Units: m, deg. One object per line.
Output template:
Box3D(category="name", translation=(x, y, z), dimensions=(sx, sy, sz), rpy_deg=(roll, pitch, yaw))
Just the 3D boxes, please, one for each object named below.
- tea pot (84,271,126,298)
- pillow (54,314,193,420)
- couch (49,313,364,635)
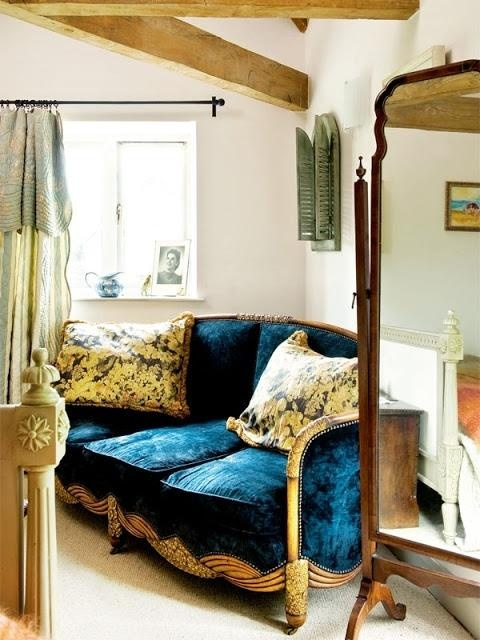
Box3D(category="tea pot", translation=(-0.802, -0.205, 3.291), dimensions=(0.222, 0.161, 0.293), rpy_deg=(0, 2, -16))
Box3D(category="pillow", translation=(-0.518, 0.204, 2.461), dimensions=(0.433, 0.486, 0.140), rpy_deg=(2, -22, 2))
Box3D(category="couch", translation=(-0.059, 0.409, 2.068), dimensions=(1.240, 0.829, 0.795), rpy_deg=(2, 3, 41))
